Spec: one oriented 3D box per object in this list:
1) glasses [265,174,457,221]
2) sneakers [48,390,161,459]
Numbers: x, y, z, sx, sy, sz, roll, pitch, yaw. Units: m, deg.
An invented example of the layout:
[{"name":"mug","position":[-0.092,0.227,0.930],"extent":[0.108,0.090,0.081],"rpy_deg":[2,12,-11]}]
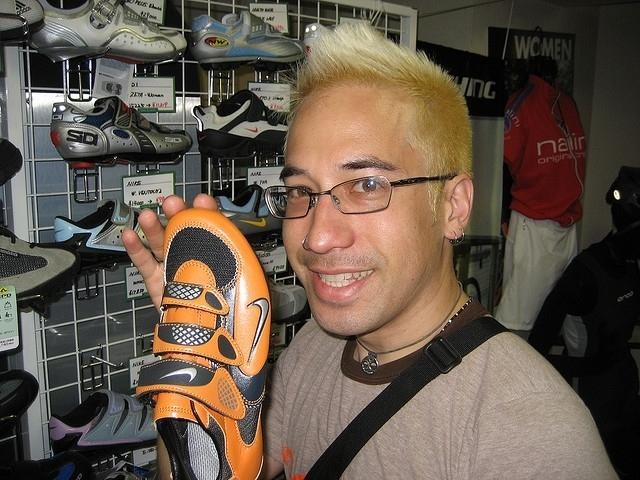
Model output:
[{"name":"glasses","position":[0.126,-0.116,1.315],"extent":[0.455,0.131,0.201],"rpy_deg":[4,16,13]},{"name":"sneakers","position":[-0.890,0.767,2.137],"extent":[0.168,0.223,0.498],"rpy_deg":[7,2,38]}]
